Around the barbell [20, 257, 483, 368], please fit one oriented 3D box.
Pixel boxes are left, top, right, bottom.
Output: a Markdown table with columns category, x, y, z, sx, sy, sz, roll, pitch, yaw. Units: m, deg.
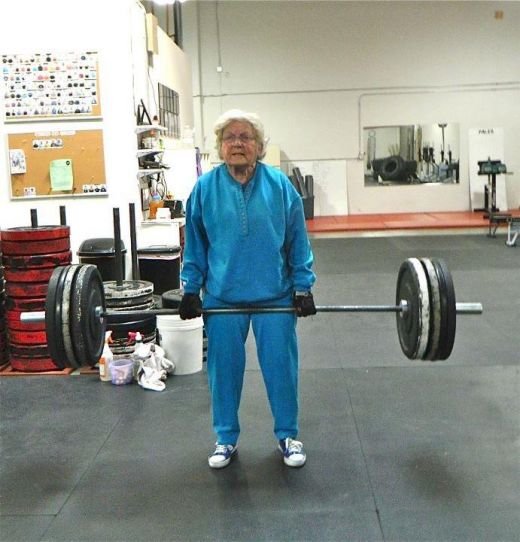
| category | x | y | z | sx | sy | sz | roll | pitch | yaw |
| --- | --- | --- | --- | --- | --- | --- | --- | --- | --- |
| barbell | -0.023 | 0.176 | 2.482 | 1.894 | 0.649 | 0.591 | 1 | 17 | -3 |

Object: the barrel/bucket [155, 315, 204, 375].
| category | x | y | z | sx | sy | sz | roll | pitch | yaw |
| --- | --- | --- | --- | --- | --- | --- | --- | --- | --- |
| barrel/bucket | -0.512 | 0.440 | 3.718 | 0.301 | 0.426 | 0.350 | -1 | 2 | -6 |

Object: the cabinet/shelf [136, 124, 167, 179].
| category | x | y | z | sx | sy | sz | roll | pitch | yaw |
| --- | --- | --- | --- | --- | --- | --- | --- | --- | --- |
| cabinet/shelf | -1.135 | -1.282 | 6.014 | 0.299 | 0.541 | 1.589 | -3 | 9 | -9 |
